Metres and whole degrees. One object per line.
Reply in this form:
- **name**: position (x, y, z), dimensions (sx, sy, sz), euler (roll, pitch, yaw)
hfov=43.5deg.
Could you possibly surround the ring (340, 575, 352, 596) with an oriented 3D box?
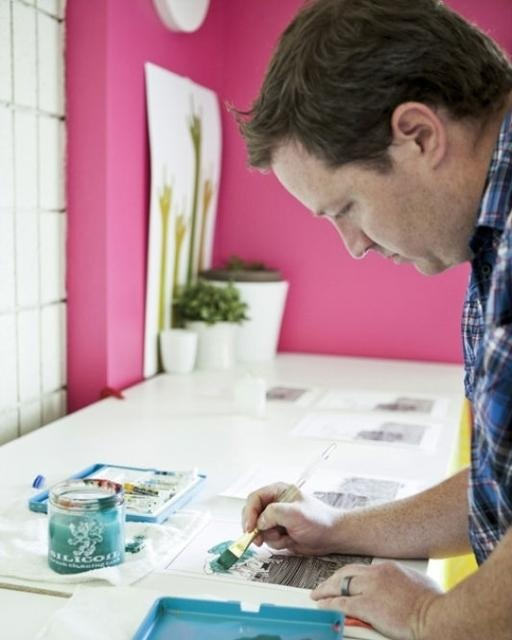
- **ring**: position (0.093, 0.277, 0.668), dimensions (0.007, 0.017, 0.018), euler (12, -6, 2)

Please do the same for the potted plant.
- **potted plant**: position (-0.116, 0.004, 1.940), dimensions (0.179, 0.260, 0.137), euler (16, 21, 33)

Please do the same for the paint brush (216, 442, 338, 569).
- **paint brush**: position (0.020, 0.251, 0.827), dimensions (0.190, 0.022, 0.009), euler (-32, -5, -47)

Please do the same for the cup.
- **cup**: position (-0.185, 0.231, 0.722), dimensions (0.082, 0.091, 0.081), euler (5, 14, -1)
